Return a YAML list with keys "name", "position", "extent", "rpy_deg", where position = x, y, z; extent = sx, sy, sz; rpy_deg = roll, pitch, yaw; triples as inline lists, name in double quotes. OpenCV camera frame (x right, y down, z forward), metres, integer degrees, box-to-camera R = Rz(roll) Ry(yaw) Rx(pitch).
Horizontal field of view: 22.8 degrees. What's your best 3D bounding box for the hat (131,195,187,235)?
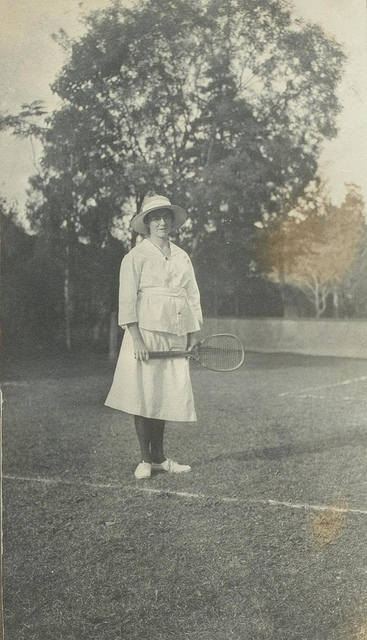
- name: "hat"
  position: [-0.141, -0.596, 5.135]
  extent: [0.214, 0.125, 0.247]
  rpy_deg: [-6, -40, 4]
